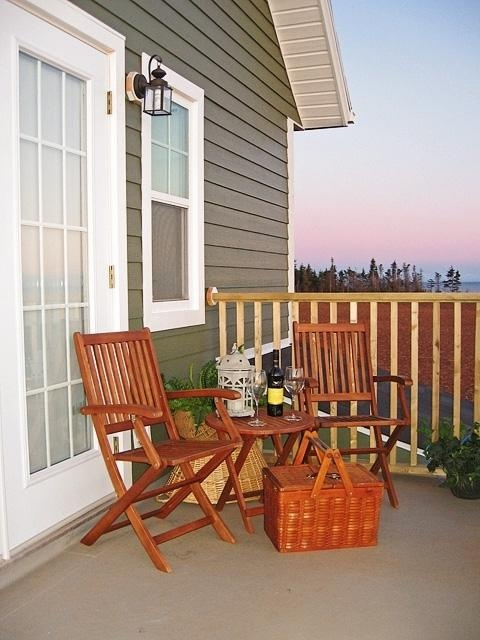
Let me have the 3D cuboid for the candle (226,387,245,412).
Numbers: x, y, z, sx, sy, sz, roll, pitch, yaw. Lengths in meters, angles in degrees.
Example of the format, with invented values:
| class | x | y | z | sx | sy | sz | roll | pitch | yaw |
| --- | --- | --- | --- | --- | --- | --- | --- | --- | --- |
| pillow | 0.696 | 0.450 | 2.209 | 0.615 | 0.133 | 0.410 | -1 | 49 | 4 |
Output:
| class | x | y | z | sx | sy | sz | roll | pitch | yaw |
| --- | --- | --- | --- | --- | --- | --- | --- | --- | --- |
| candle | -0.039 | 0.415 | 2.806 | 0.115 | 0.132 | 0.117 | 0 | 0 | 28 |

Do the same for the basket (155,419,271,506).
| class | x | y | z | sx | sy | sz | roll | pitch | yaw |
| --- | --- | --- | --- | --- | --- | --- | --- | --- | --- |
| basket | -0.138 | 0.786 | 3.184 | 0.562 | 0.387 | 0.487 | -2 | -5 | 28 |

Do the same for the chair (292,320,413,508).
| class | x | y | z | sx | sy | sz | roll | pitch | yaw |
| --- | --- | --- | --- | --- | --- | --- | --- | --- | --- |
| chair | 0.608 | 0.562 | 3.232 | 0.690 | 0.924 | 0.751 | -7 | 20 | -34 |

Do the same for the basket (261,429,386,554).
| class | x | y | z | sx | sy | sz | roll | pitch | yaw |
| --- | --- | --- | --- | --- | --- | --- | --- | --- | --- |
| basket | 0.342 | 0.781 | 2.653 | 0.554 | 0.497 | 0.421 | -2 | 6 | -9 |

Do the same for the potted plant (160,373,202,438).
| class | x | y | z | sx | sy | sz | roll | pitch | yaw |
| --- | --- | --- | --- | --- | --- | --- | --- | --- | --- |
| potted plant | -0.321 | 0.532 | 3.354 | 0.269 | 0.313 | 0.347 | -1 | 7 | 2 |

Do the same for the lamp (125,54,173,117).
| class | x | y | z | sx | sy | sz | roll | pitch | yaw |
| --- | --- | --- | --- | --- | --- | --- | --- | --- | --- |
| lamp | -0.504 | -1.325 | 3.086 | 0.209 | 0.313 | 0.151 | 9 | 13 | 20 |

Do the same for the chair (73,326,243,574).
| class | x | y | z | sx | sy | sz | roll | pitch | yaw |
| --- | --- | --- | --- | --- | --- | --- | --- | --- | --- |
| chair | -0.406 | 0.549 | 2.544 | 0.822 | 0.986 | 0.795 | 1 | 0 | 28 |
